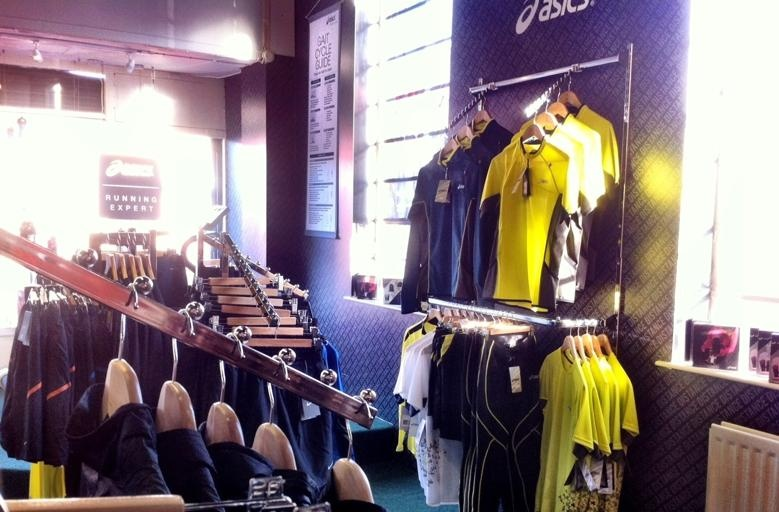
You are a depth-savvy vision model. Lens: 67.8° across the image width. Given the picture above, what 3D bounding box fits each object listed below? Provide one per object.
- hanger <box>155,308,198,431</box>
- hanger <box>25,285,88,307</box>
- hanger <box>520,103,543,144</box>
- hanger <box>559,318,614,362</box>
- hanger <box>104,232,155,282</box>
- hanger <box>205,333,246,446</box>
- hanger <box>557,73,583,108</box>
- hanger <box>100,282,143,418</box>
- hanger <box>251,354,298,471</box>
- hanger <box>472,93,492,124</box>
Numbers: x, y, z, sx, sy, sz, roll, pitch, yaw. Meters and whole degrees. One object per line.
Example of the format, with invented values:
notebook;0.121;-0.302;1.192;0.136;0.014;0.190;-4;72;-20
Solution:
hanger;-0.843;0.498;2.278;0.139;0.449;0.251;3;-1;-24
hanger;-2.495;0.274;4.203;0.568;0.170;0.341;2;-2;37
hanger;0.975;-0.855;3.943;0.144;0.162;0.274;2;-1;14
hanger;1.289;0.560;3.991;0.581;0.240;0.180;-3;-2;-21
hanger;-2.165;0.015;4.774;0.285;0.365;0.259;3;-36;-15
hanger;-0.673;0.523;2.365;0.142;0.432;0.311;3;-1;-18
hanger;1.323;-1.207;4.218;0.021;0.285;0.229;-3;13;-25
hanger;-1.075;0.373;2.330;0.139;0.570;0.461;3;-1;-26
hanger;-0.468;0.612;2.383;0.168;0.431;0.300;3;-1;-12
hanger;0.753;-1.182;4.678;0.130;0.317;0.468;2;-1;10
